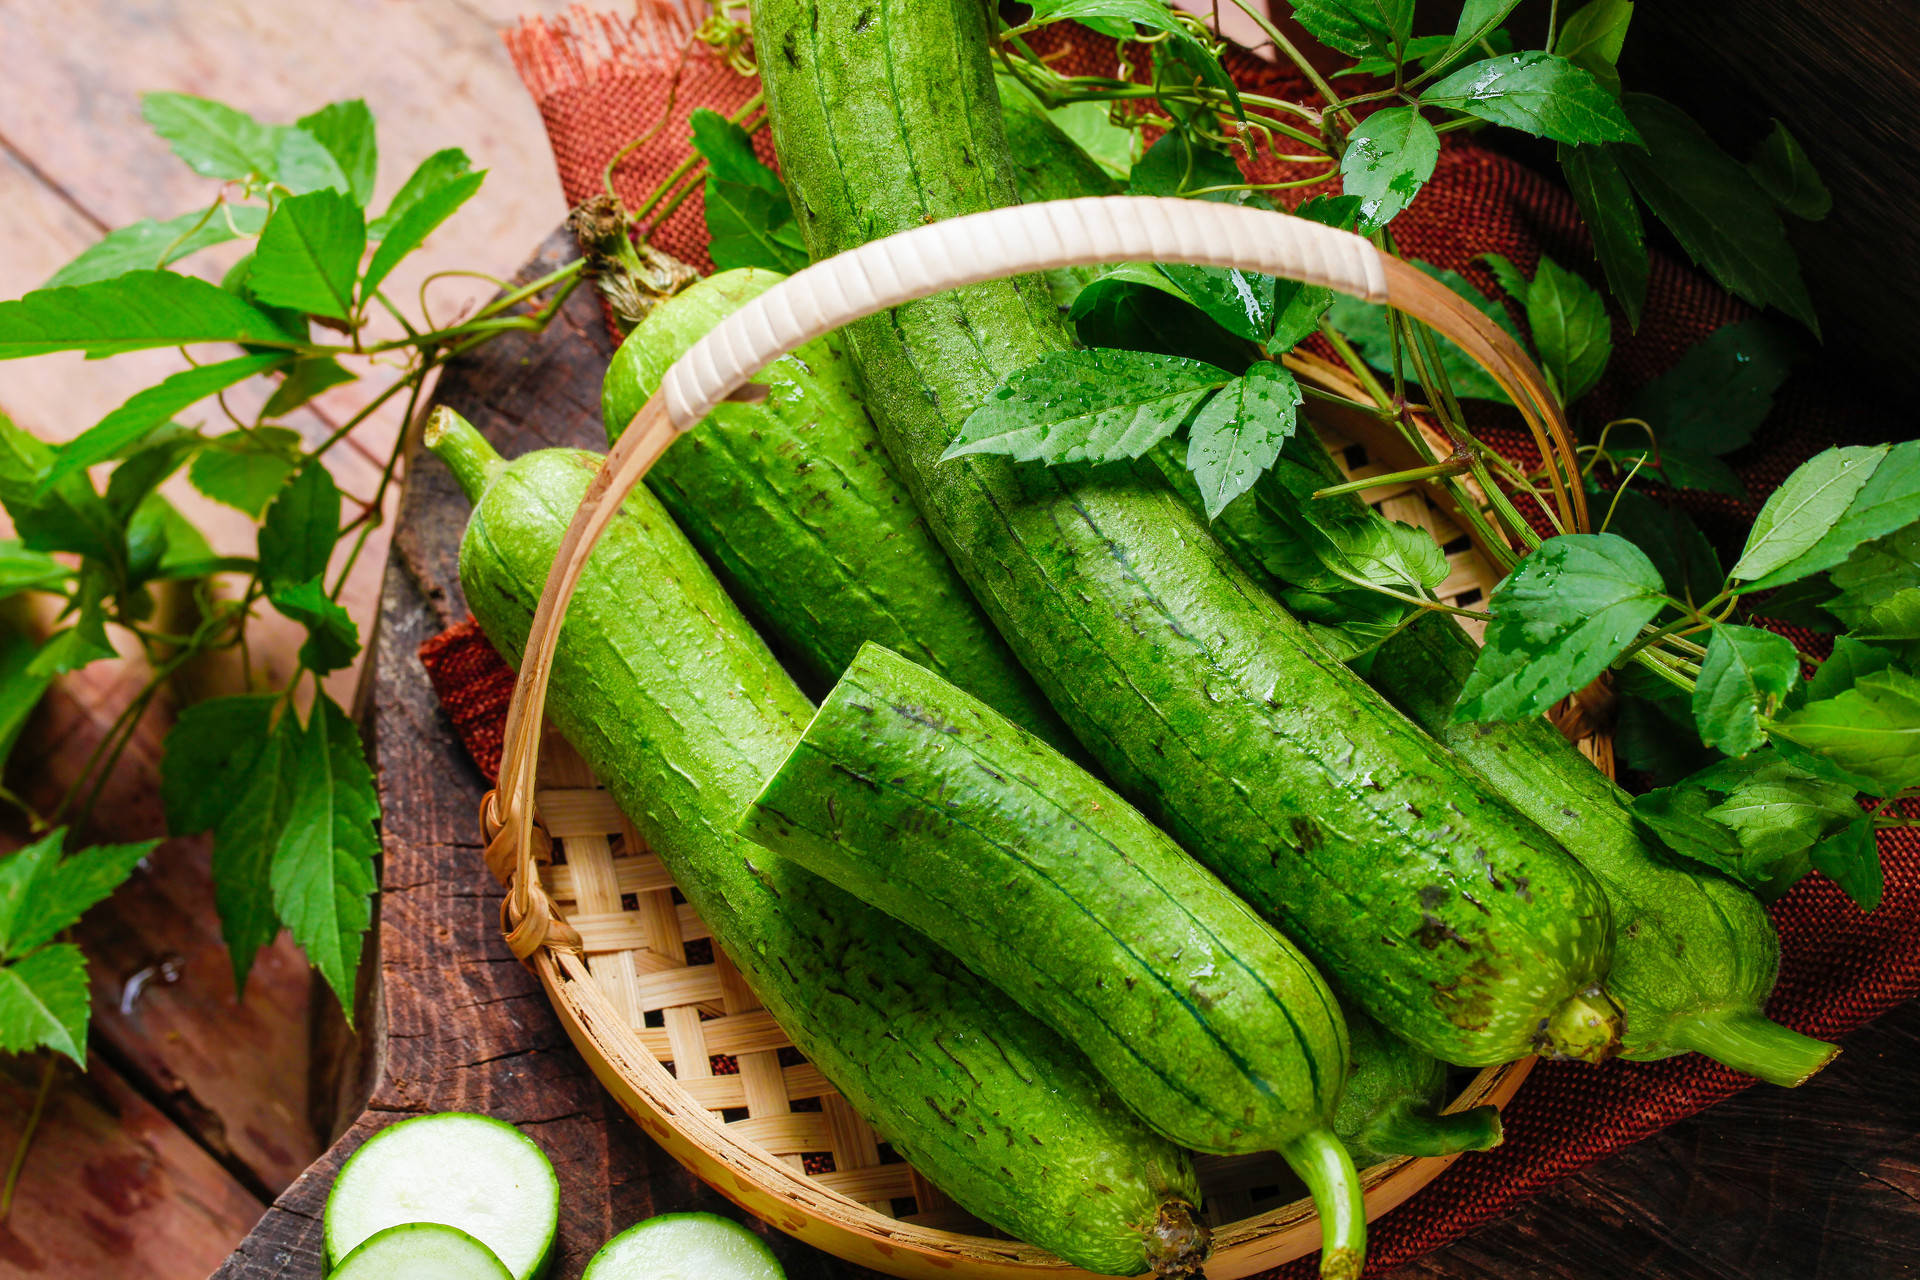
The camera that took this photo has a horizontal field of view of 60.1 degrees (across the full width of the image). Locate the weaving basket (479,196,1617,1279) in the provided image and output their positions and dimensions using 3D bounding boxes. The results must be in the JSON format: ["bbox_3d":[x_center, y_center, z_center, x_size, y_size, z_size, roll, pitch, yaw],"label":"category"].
[{"bbox_3d":[0.030,-0.027,1.437,1.026,0.542,0.516,-37,66,-12],"label":"weaving basket"}]
